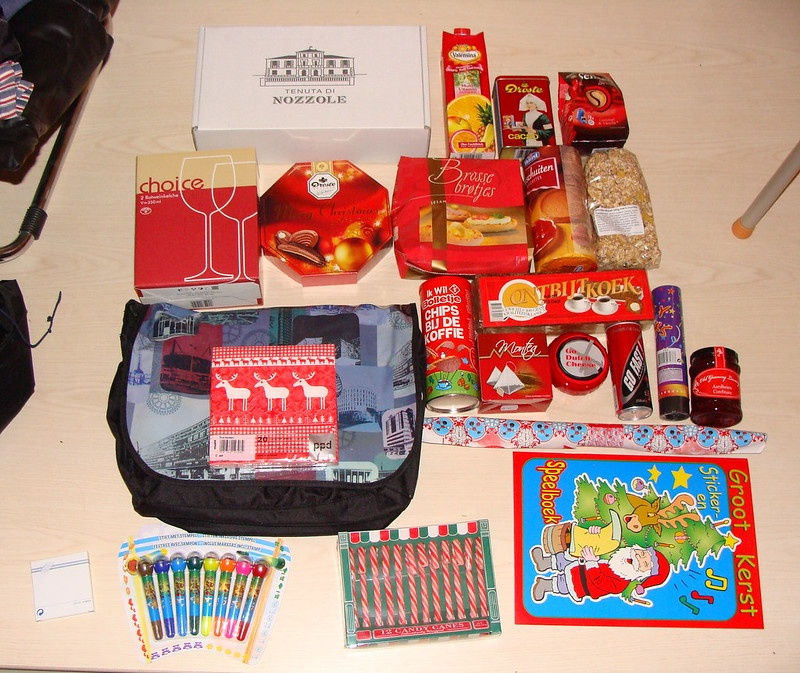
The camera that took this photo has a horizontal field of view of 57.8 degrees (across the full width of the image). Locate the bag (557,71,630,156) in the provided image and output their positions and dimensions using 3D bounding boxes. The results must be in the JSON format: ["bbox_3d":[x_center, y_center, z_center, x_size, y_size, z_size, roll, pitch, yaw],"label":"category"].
[{"bbox_3d":[0.417,-0.464,1.563,0.141,0.111,0.164,2,76,-15],"label":"bag"}]

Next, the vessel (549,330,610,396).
[{"bbox_3d":[0.344,0.063,1.368,0.122,0.037,0.103,-4,73,-6],"label":"vessel"}]

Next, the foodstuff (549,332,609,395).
[{"bbox_3d":[0.343,0.065,1.368,0.121,0.039,0.103,-6,74,-7],"label":"foodstuff"}]

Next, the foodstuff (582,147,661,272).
[{"bbox_3d":[0.443,-0.225,1.430,0.143,0.069,0.231,-6,79,4],"label":"foodstuff"}]

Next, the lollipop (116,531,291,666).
[{"bbox_3d":[-0.354,0.448,1.277,0.305,0.040,0.207,3,64,-1],"label":"lollipop"}]

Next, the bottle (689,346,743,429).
[{"bbox_3d":[0.613,0.104,1.399,0.105,0.095,0.135,7,70,-2],"label":"bottle"}]

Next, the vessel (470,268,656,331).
[{"bbox_3d":[0.331,-0.062,1.421,0.369,0.083,0.103,-1,89,39],"label":"vessel"}]

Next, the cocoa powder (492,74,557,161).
[{"bbox_3d":[0.260,-0.442,1.563,0.142,0.095,0.153,-5,90,-19],"label":"cocoa powder"}]

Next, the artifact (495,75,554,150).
[{"bbox_3d":[0.249,-0.464,1.578,0.112,0.134,0.159,-3,109,-28],"label":"artifact"}]

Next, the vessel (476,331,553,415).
[{"bbox_3d":[0.221,0.077,1.351,0.153,0.089,0.131,-2,74,0],"label":"vessel"}]

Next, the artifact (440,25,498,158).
[{"bbox_3d":[0.145,-0.499,1.540,0.099,0.080,0.279,-5,74,0],"label":"artifact"}]

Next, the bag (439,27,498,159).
[{"bbox_3d":[0.166,-0.448,1.565,0.122,0.094,0.328,-1,84,13],"label":"bag"}]

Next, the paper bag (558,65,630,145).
[{"bbox_3d":[0.409,-0.462,1.555,0.131,0.094,0.145,-9,94,-15],"label":"paper bag"}]

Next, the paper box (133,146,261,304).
[{"bbox_3d":[-0.352,-0.196,1.516,0.316,0.272,0.250,2,87,-1],"label":"paper box"}]

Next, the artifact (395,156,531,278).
[{"bbox_3d":[0.120,-0.219,1.440,0.270,0.063,0.239,1,64,-2],"label":"artifact"}]
